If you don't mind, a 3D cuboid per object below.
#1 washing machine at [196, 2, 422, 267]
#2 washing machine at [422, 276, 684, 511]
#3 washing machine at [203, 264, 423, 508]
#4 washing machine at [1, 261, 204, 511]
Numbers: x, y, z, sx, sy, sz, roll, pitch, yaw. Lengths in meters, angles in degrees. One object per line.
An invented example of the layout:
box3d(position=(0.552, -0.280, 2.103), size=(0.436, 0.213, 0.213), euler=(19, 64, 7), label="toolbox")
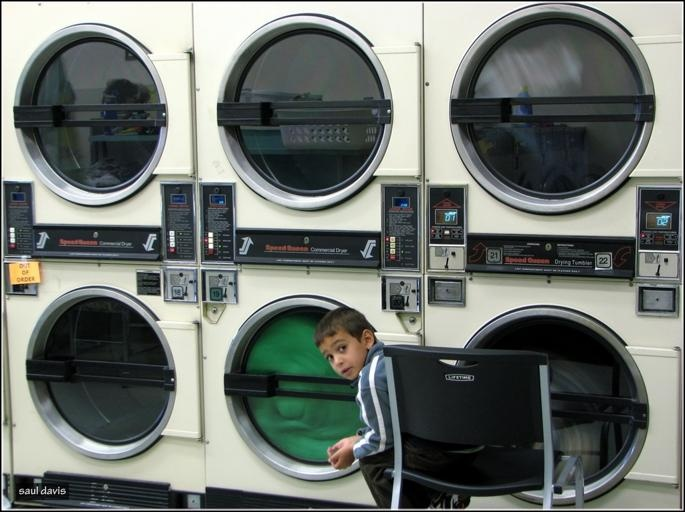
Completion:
box3d(position=(-0.113, -0.567, 3.046), size=(1.090, 1.107, 0.604), euler=(0, 5, 9), label="washing machine")
box3d(position=(0.864, 0.545, 2.658), size=(0.943, 0.964, 0.473), euler=(0, 2, 19), label="washing machine")
box3d(position=(-0.111, 0.531, 2.977), size=(1.082, 1.102, 0.569), euler=(0, 1, 11), label="washing machine")
box3d(position=(-1.147, 0.618, 3.386), size=(1.234, 1.278, 0.733), euler=(0, 0, 10), label="washing machine")
